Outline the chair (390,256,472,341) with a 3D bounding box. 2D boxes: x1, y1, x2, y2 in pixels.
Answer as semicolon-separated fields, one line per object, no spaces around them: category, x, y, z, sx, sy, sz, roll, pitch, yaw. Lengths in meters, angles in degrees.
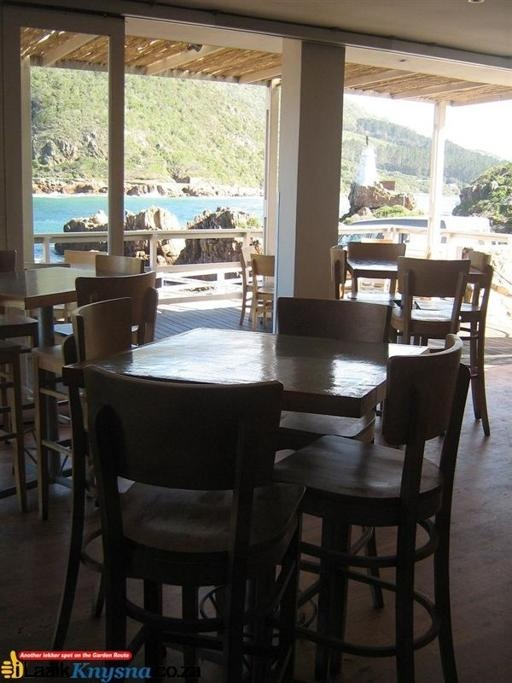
chair;1.098;-0.255;3.609;0.424;0.601;0.791;4;13;14
